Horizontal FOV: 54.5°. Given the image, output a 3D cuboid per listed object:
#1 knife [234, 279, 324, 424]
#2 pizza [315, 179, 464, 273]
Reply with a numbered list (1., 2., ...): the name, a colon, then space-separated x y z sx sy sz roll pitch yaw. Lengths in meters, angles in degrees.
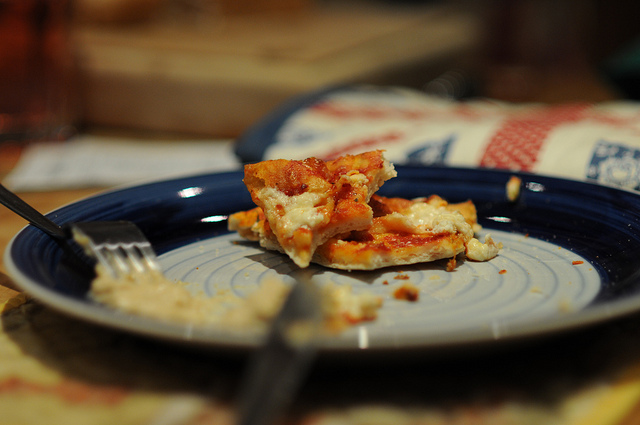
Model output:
1. knife: -0.096 0.343 1.494 0.112 0.022 0.423 16 60 12
2. pizza: 0.273 0.049 2.248 0.556 0.099 0.522 -26 34 -36
